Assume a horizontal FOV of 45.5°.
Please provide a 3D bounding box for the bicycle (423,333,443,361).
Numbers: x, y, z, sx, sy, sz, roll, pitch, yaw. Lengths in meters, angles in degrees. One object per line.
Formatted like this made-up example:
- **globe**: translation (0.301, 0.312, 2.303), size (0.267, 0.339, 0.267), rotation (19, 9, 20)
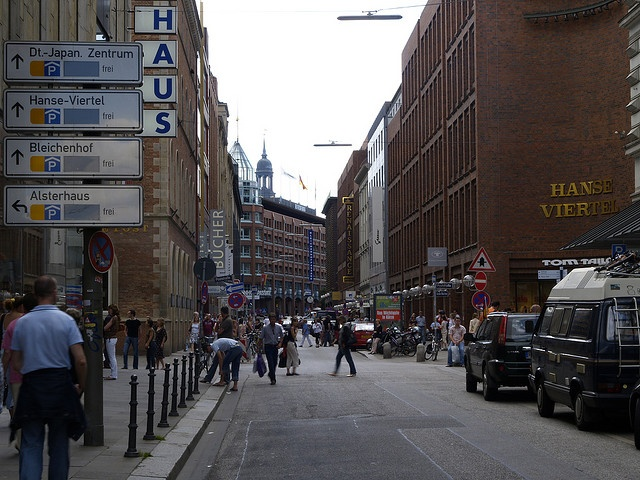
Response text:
- **bicycle**: translation (5.312, 5.051, 35.733), size (0.757, 0.998, 1.461), rotation (0, -7, 0)

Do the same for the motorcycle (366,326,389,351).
- **motorcycle**: translation (3.297, 5.771, 45.016), size (0.972, 1.415, 1.978), rotation (-1, -9, 6)

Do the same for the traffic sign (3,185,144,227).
- **traffic sign**: translation (-3.698, -0.534, 11.473), size (1.988, 0.665, 0.216), rotation (2, -8, -6)

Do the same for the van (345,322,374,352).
- **van**: translation (2.562, 6.279, 48.387), size (1.734, 1.792, 3.279), rotation (-1, 3, -2)

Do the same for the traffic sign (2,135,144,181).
- **traffic sign**: translation (-3.711, -1.271, 11.526), size (2.009, 0.697, 0.225), rotation (2, -8, -8)

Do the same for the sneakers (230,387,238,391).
- **sneakers**: translation (-2.478, 4.206, 21.779), size (0.195, 0.105, 0.310), rotation (2, -11, -7)

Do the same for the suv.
- **suv**: translation (4.392, 2.680, 18.999), size (1.157, 1.168, 2.193), rotation (1, -1, -9)

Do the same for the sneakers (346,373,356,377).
- **sneakers**: translation (1.031, 4.594, 26.349), size (0.327, 0.168, 0.115), rotation (3, 4, 37)

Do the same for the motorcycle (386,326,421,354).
- **motorcycle**: translation (4.356, 5.217, 40.138), size (1.831, 1.440, 1.073), rotation (-1, -2, 30)

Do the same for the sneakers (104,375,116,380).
- **sneakers**: translation (-6.335, 4.120, 23.066), size (0.384, 0.198, 0.155), rotation (-2, 0, 9)

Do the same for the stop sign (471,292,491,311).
- **stop sign**: translation (5.345, 1.996, 25.949), size (0.671, 0.809, 0.167), rotation (5, -3, -25)

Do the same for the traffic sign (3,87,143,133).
- **traffic sign**: translation (-3.723, -1.998, 11.545), size (2.024, 0.742, 0.235), rotation (2, -8, -7)

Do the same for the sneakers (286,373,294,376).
- **sneakers**: translation (-1.117, 4.776, 27.442), size (0.241, 0.116, 0.085), rotation (-5, 13, -13)

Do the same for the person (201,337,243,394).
- **person**: translation (-2.817, 3.655, 22.811), size (0.822, 1.539, 2.476), rotation (2, -10, -8)

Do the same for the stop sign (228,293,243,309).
- **stop sign**: translation (-3.817, 2.641, 34.432), size (0.605, 0.689, 1.451), rotation (2, -10, -6)

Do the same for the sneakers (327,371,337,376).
- **sneakers**: translation (0.399, 4.661, 26.966), size (0.273, 0.226, 0.108), rotation (4, -10, 19)
